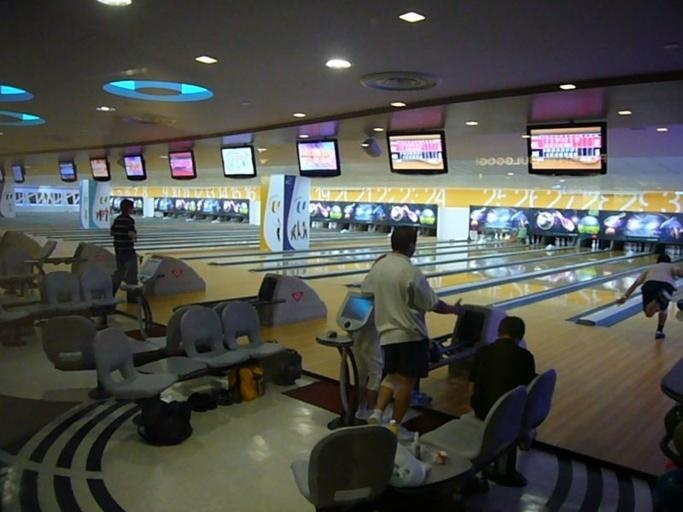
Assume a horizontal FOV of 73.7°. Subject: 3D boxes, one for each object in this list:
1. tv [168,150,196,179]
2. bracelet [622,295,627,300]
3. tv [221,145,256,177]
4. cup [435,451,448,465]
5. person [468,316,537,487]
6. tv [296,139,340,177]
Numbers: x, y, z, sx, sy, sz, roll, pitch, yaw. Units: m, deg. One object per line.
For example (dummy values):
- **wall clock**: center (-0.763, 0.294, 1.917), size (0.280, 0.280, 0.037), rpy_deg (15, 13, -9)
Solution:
- **tv**: center (-2.780, -1.602, 7.955), size (0.632, 0.668, 0.159), rpy_deg (1, 1, 27)
- **bracelet**: center (3.102, 0.464, 4.992), size (0.054, 0.040, 0.053), rpy_deg (0, 0, -25)
- **tv**: center (-1.635, -1.509, 7.228), size (0.290, 0.563, 0.855), rpy_deg (1, -2, -41)
- **cup**: center (0.466, 0.944, 2.124), size (0.048, 0.049, 0.050), rpy_deg (-2, 0, 0)
- **person**: center (0.897, 0.795, 2.445), size (0.308, 0.914, 0.378), rpy_deg (0, -1, -12)
- **tv**: center (-0.299, -1.352, 6.231), size (0.720, 0.514, 0.332), rpy_deg (0, -1, 29)
